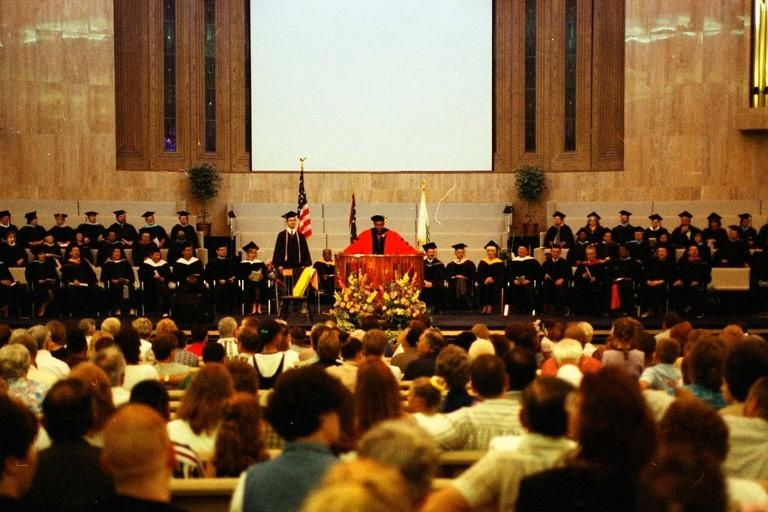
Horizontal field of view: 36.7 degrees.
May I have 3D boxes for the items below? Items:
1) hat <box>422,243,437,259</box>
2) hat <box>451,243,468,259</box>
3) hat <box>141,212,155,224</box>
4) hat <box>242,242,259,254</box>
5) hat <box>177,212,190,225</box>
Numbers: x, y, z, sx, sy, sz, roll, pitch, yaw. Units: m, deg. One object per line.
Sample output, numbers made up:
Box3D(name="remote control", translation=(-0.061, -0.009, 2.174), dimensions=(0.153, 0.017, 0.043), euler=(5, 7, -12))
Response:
Box3D(name="hat", translation=(0.907, -0.107, 22.334), dimensions=(0.285, 0.286, 0.283), euler=(0, -11, -16))
Box3D(name="hat", translation=(1.454, -0.099, 22.246), dimensions=(0.315, 0.303, 0.281), euler=(-1, -1, -5))
Box3D(name="hat", translation=(-4.759, -0.796, 23.431), dimensions=(0.253, 0.261, 0.262), euler=(-4, -3, -17))
Box3D(name="hat", translation=(-2.577, -0.166, 22.389), dimensions=(0.256, 0.159, 0.254), euler=(0, 7, 6))
Box3D(name="hat", translation=(-4.073, -0.794, 23.525), dimensions=(0.300, 0.305, 0.308), euler=(-1, -2, -14))
